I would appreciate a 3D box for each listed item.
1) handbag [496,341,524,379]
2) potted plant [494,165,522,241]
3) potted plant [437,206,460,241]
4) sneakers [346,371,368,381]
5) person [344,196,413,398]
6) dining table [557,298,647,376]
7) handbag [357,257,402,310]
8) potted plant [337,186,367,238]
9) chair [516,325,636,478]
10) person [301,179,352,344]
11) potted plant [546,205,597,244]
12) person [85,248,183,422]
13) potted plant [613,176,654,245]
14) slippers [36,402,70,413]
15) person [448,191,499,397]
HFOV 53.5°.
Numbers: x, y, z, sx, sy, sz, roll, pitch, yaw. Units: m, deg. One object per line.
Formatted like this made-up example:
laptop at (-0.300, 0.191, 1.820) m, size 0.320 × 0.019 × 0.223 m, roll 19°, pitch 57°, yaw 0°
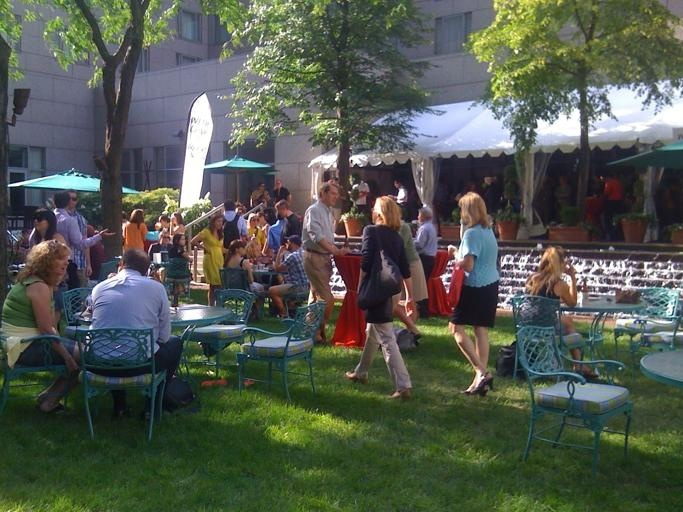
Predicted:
handbag at (2.124, 1.346, 8.630) m, size 0.287 × 0.493 × 0.452 m, roll -1°, pitch -9°, yaw 11°
potted plant at (4.096, -1.339, 16.906) m, size 0.620 × 1.878 × 0.711 m, roll -13°, pitch 13°, yaw -32°
potted plant at (2.848, -1.012, 17.612) m, size 0.633 × 1.088 × 0.817 m, roll 2°, pitch 19°, yaw 11°
sneakers at (0.191, 1.452, 8.226) m, size 0.102 × 0.139 × 0.281 m, roll 3°, pitch 7°, yaw -43°
person at (0.443, 0.458, 7.945) m, size 0.680 × 2.321 × 1.144 m, roll 2°, pitch 0°, yaw -35°
dining table at (3.215, 1.018, 8.592) m, size 0.938 × 0.704 × 0.995 m, roll -2°, pitch 0°, yaw 39°
handbag at (0.422, 0.304, 7.644) m, size 0.397 × 0.444 × 0.203 m, roll -34°, pitch -33°, yaw 25°
potted plant at (0.277, -1.226, 17.835) m, size 0.695 × 1.302 × 0.718 m, roll -2°, pitch 4°, yaw 28°
chair at (2.271, 1.351, 6.628) m, size 0.891 × 1.409 × 0.876 m, roll -4°, pitch -1°, yaw 42°
person at (-0.229, 0.109, 9.385) m, size 0.586 × 2.258 × 0.672 m, roll -1°, pitch 6°, yaw -13°
potted plant at (5.298, -0.671, 15.738) m, size 1.036 × 0.967 × 1.066 m, roll -4°, pitch -13°, yaw 42°
person at (-2.079, 0.814, 7.070) m, size 0.896 × 1.749 × 1.165 m, roll 8°, pitch 10°, yaw 43°
potted plant at (6.504, -0.991, 14.880) m, size 0.675 × 1.241 × 0.667 m, roll 6°, pitch 6°, yaw 23°
slippers at (-3.041, 1.570, 7.091) m, size 0.216 × 0.106 × 0.127 m, roll 20°, pitch -12°, yaw -26°
person at (1.581, 0.439, 8.065) m, size 0.567 × 2.360 × 0.857 m, roll 3°, pitch 12°, yaw 11°
